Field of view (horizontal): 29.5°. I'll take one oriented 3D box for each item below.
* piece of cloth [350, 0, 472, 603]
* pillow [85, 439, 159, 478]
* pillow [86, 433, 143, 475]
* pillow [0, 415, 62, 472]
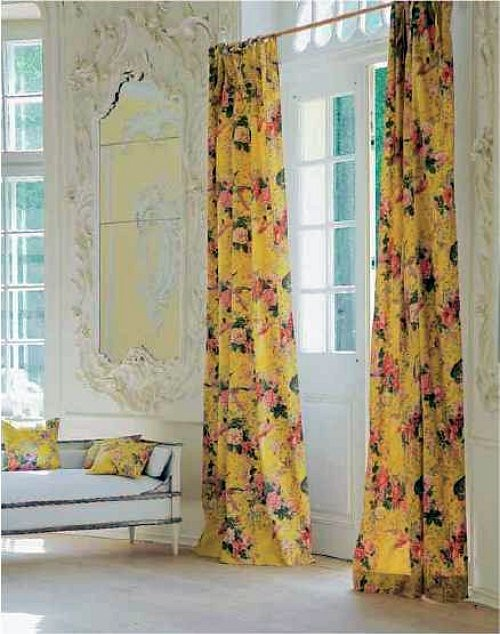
[{"bbox_3d":[0.684,-0.092,4.177,0.517,2.631,0.268,0,2,22],"label":"piece of cloth"},{"bbox_3d":[-0.673,0.732,4.927,0.366,0.171,0.280,-2,2,-7],"label":"pillow"},{"bbox_3d":[-0.745,0.727,5.037,0.193,0.213,0.060,-3,-28,27],"label":"pillow"},{"bbox_3d":[-1.147,0.679,4.982,0.239,0.251,0.096,-2,1,1],"label":"pillow"}]
